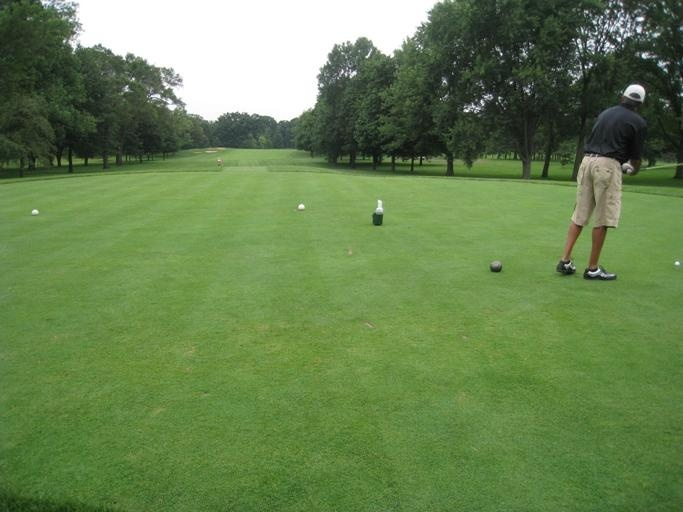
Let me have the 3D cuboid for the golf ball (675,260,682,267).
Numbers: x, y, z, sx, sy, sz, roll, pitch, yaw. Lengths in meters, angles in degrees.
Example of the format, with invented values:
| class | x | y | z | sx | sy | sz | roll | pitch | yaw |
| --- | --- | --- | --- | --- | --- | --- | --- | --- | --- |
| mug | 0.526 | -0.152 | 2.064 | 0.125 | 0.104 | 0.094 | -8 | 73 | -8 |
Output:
| class | x | y | z | sx | sy | sz | roll | pitch | yaw |
| --- | --- | --- | --- | --- | --- | --- | --- | --- | --- |
| golf ball | 5.156 | 0.103 | 9.055 | 0.098 | 0.073 | 0.123 | -3 | 10 | 0 |

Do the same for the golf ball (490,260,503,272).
| class | x | y | z | sx | sy | sz | roll | pitch | yaw |
| --- | --- | --- | --- | --- | --- | --- | --- | --- | --- |
| golf ball | 2.314 | 0.140 | 8.807 | 0.148 | 0.166 | 0.157 | -11 | 0 | 0 |

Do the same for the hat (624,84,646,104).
| class | x | y | z | sx | sy | sz | roll | pitch | yaw |
| --- | --- | --- | --- | --- | --- | --- | --- | --- | --- |
| hat | 4.147 | -2.319 | 8.347 | 0.228 | 0.195 | 0.341 | 15 | 36 | 18 |

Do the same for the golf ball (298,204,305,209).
| class | x | y | z | sx | sy | sz | roll | pitch | yaw |
| --- | --- | --- | --- | --- | --- | --- | --- | --- | --- |
| golf ball | -0.959 | -1.210 | 14.256 | 0.152 | 0.170 | 0.159 | -4 | 2 | 0 |

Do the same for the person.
| class | x | y | z | sx | sy | sz | roll | pitch | yaw |
| --- | --- | --- | --- | --- | --- | --- | --- | --- | --- |
| person | 3.802 | -1.116 | 8.553 | 0.943 | 2.738 | 1.142 | 7 | 14 | 27 |

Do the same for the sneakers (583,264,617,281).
| class | x | y | z | sx | sy | sz | roll | pitch | yaw |
| --- | --- | --- | --- | --- | --- | --- | --- | --- | --- |
| sneakers | 3.704 | 0.234 | 8.412 | 0.432 | 0.214 | 0.201 | 1 | 3 | 0 |

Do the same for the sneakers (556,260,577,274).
| class | x | y | z | sx | sy | sz | roll | pitch | yaw |
| --- | --- | --- | --- | --- | --- | --- | --- | --- | --- |
| sneakers | 3.309 | 0.164 | 8.692 | 0.336 | 0.180 | 0.131 | -6 | 11 | -38 |
